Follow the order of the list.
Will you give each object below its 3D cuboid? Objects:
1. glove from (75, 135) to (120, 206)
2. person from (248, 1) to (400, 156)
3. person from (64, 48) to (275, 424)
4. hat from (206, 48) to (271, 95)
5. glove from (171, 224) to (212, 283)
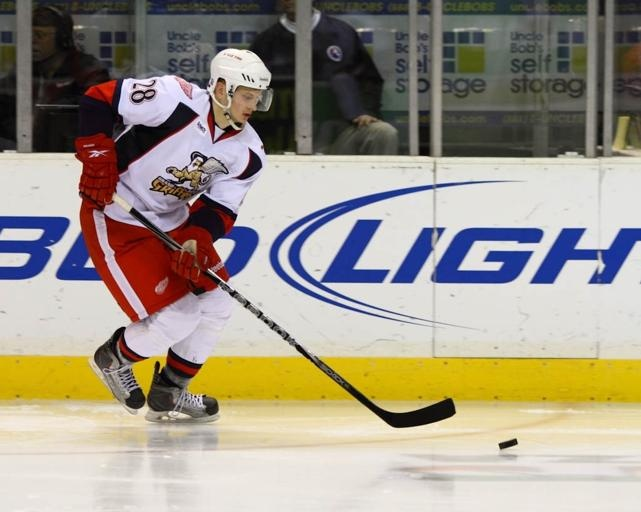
[{"bbox_3d":[-0.893,-0.351,4.731,0.226,0.242,0.096,-2,13,-3],"label":"glove"},{"bbox_3d":[0.019,-0.849,5.757,0.848,0.661,0.213,-2,4,4],"label":"person"},{"bbox_3d":[-0.629,-0.064,4.904,0.764,1.588,0.325,3,10,-1],"label":"person"},{"bbox_3d":[-0.330,-0.770,4.843,0.256,0.166,0.188,27,26,17],"label":"hat"},{"bbox_3d":[-0.521,-0.007,4.866,0.126,0.211,0.203,9,-29,-35],"label":"glove"}]
